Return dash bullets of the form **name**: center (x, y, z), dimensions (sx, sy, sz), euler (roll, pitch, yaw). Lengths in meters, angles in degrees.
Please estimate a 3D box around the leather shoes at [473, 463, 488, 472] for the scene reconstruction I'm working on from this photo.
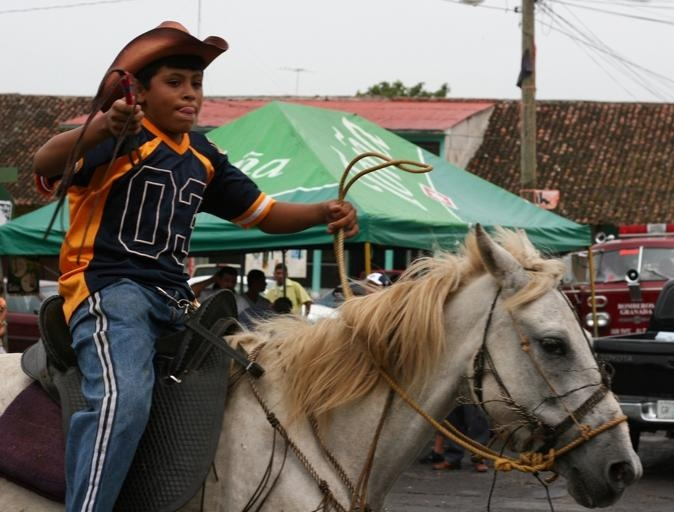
- **leather shoes**: center (1.445, 2.146, 12.277), dimensions (0.062, 0.120, 0.175), euler (3, -20, -14)

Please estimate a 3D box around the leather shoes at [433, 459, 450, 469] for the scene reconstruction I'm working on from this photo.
- **leather shoes**: center (1.076, 2.138, 12.394), dimensions (0.202, 0.078, 0.066), euler (17, 26, -50)
